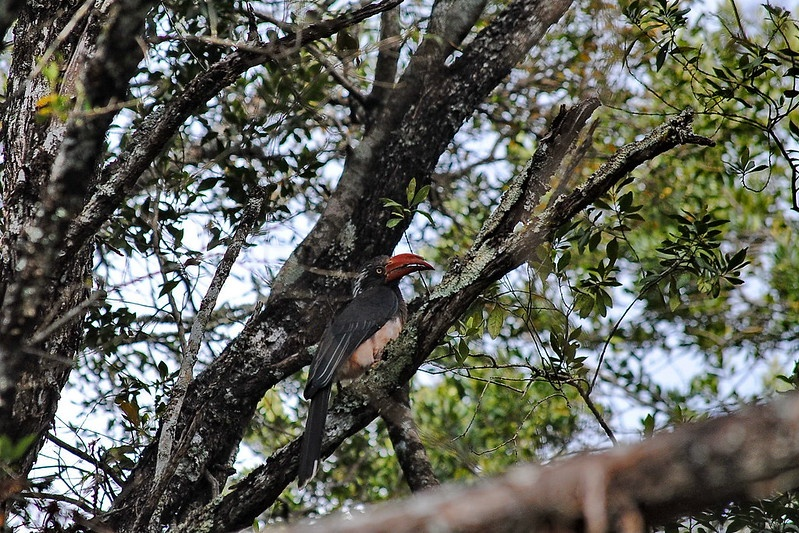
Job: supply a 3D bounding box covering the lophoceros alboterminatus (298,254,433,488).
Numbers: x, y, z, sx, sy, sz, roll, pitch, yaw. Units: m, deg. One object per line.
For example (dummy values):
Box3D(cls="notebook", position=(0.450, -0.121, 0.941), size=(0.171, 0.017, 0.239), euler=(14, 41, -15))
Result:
Box3D(cls="lophoceros alboterminatus", position=(-0.225, 0.680, 9.799), size=(1.218, 1.581, 0.437), euler=(-10, -30, -11))
